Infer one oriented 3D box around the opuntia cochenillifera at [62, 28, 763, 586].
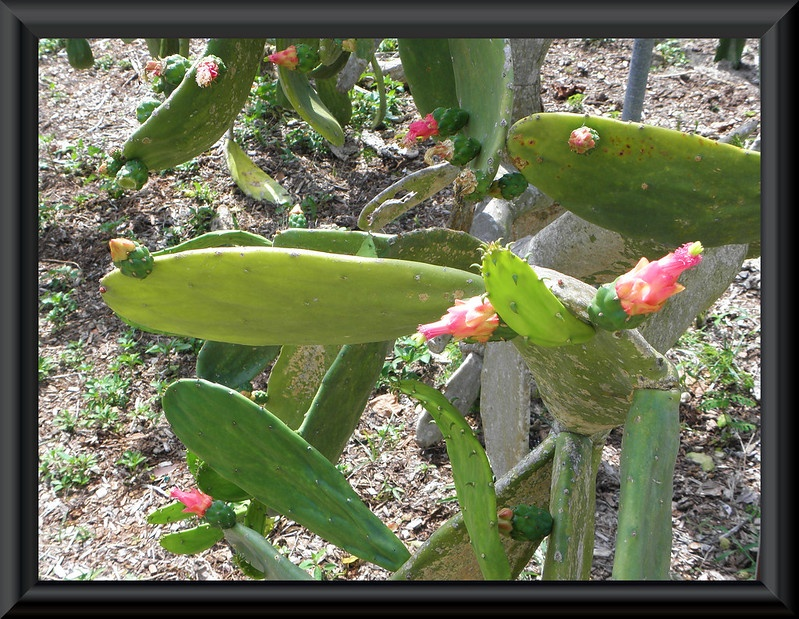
[{"bbox_3d":[0.006,0.037,2.129,1.063,1.192,1.059,21,77,9],"label":"opuntia cochenillifera"}]
